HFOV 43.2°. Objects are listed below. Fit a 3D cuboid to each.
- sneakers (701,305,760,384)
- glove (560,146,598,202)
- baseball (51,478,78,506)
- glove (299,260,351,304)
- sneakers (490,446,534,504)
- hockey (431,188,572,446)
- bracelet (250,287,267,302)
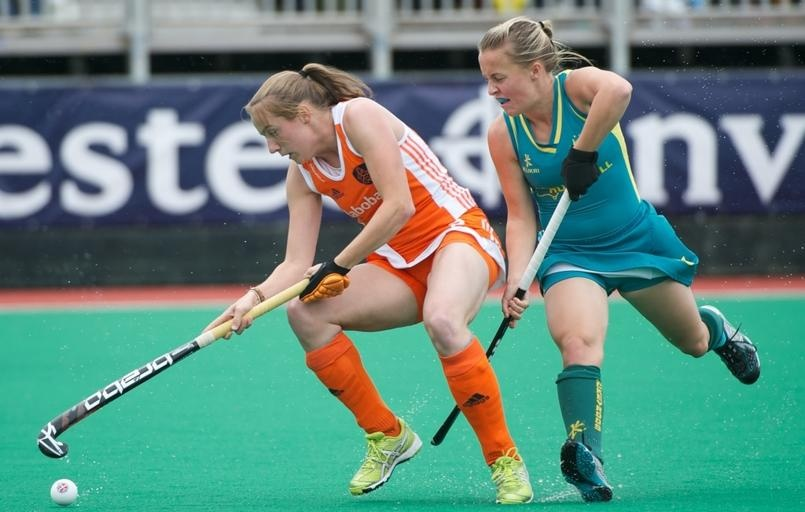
[{"bbox_3d":[2.240,0.628,6.960,0.196,0.526,0.225,-32,11,38],"label":"sneakers"},{"bbox_3d":[1.005,-0.468,5.780,0.205,0.276,0.116,14,1,11],"label":"glove"},{"bbox_3d":[-1.952,1.356,5.856,0.156,0.146,0.159,-4,-2,-19],"label":"baseball"},{"bbox_3d":[-0.444,0.167,5.905,0.362,0.140,0.161,-32,21,38],"label":"glove"},{"bbox_3d":[0.616,1.269,5.798,0.140,0.184,0.416,-26,14,8],"label":"sneakers"},{"bbox_3d":[0.607,0.412,6.267,0.147,2.168,0.158,7,34,-45],"label":"hockey"},{"bbox_3d":[-0.854,0.225,6.047,0.031,0.085,0.066,-45,-2,-12],"label":"bracelet"}]
